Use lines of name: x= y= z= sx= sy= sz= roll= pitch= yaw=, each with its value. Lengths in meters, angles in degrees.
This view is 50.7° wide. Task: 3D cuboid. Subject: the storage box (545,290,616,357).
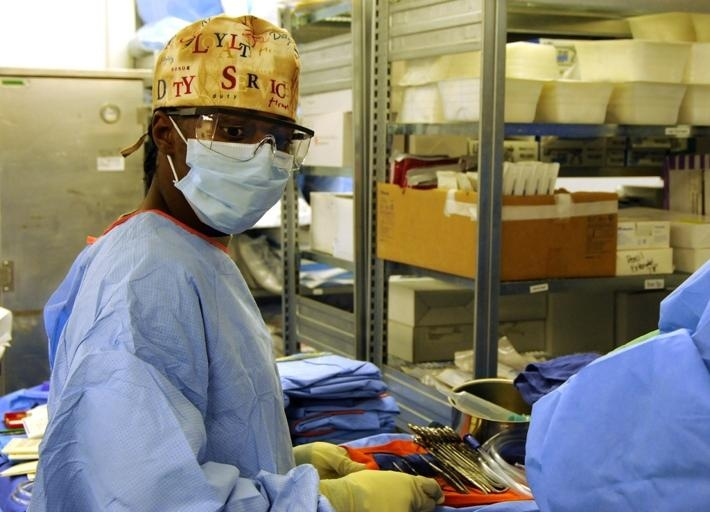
storage box: x=1.039 y=0.305 z=3.494 sx=0.318 sy=0.321 sz=0.174 roll=-1 pitch=1 yaw=-19

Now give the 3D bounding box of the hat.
hat: x=-0.330 y=-0.457 z=1.901 sx=0.279 sy=0.182 sz=0.283 roll=4 pitch=-3 yaw=5

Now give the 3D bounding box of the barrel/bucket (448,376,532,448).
barrel/bucket: x=0.444 y=0.522 z=2.534 sx=0.192 sy=0.153 sz=0.204 roll=-4 pitch=0 yaw=0

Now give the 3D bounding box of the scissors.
scissors: x=0.300 y=0.613 z=2.228 sx=0.130 sy=0.047 sz=0.225 roll=-6 pitch=25 yaw=-35

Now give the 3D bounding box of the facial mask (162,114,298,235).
facial mask: x=-0.344 y=-0.183 z=1.956 sx=0.267 sy=0.189 sz=0.301 roll=8 pitch=26 yaw=-43
